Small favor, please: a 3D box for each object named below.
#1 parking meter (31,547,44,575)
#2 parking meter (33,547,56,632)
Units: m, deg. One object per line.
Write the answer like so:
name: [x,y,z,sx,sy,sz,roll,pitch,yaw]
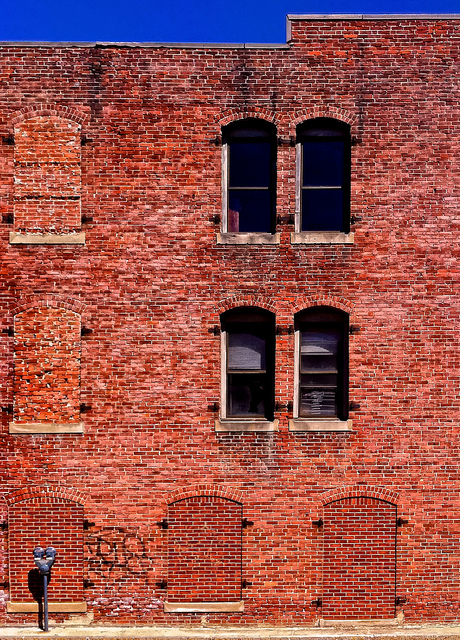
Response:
parking meter: [-2.871,3.623,28.889,0.157,0.375,0.176,4,-8,-13]
parking meter: [-2.791,4.069,28.962,0.292,1.259,0.490,-2,-8,26]
